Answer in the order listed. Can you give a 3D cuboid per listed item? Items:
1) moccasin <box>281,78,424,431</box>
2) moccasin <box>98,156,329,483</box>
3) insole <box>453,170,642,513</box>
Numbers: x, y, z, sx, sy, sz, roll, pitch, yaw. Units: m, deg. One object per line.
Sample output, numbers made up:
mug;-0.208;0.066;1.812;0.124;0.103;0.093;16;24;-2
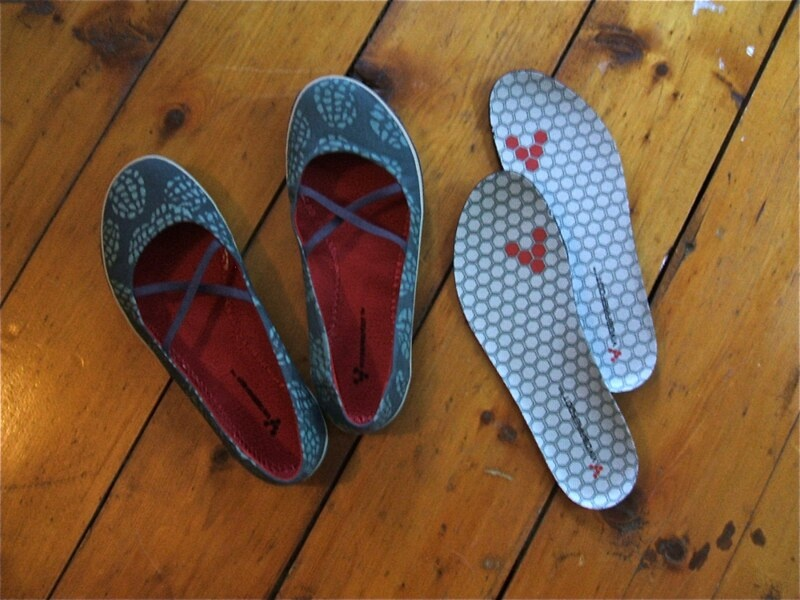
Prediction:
moccasin;-0.084;-0.121;1.767;0.230;0.765;0.179;-2;5;0
moccasin;-0.380;0.052;1.837;0.252;0.718;0.162;-31;0;-25
insole;0.286;0.084;1.865;0.254;0.825;0.056;-22;-3;6
